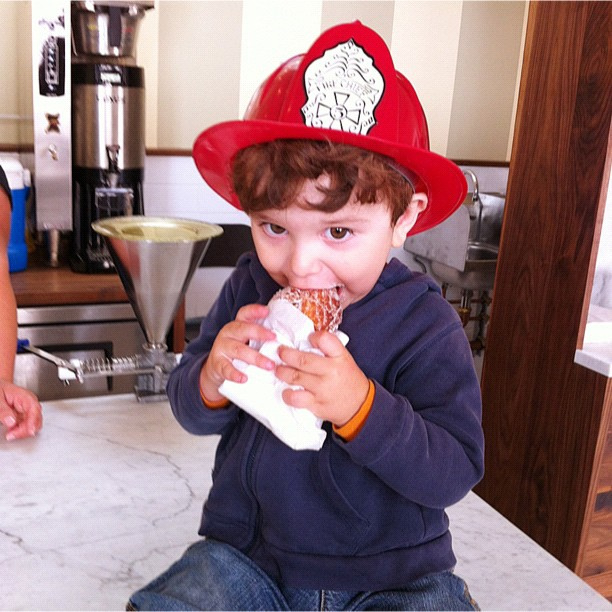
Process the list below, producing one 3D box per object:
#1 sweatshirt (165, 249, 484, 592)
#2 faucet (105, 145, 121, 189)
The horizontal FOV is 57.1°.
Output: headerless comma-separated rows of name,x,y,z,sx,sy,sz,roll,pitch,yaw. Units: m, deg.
sweatshirt,0.016,0.133,0.668,0.320,0.399,0.237,8,11,22
faucet,-0.601,-0.429,1.724,0.041,0.143,0.044,30,32,31
